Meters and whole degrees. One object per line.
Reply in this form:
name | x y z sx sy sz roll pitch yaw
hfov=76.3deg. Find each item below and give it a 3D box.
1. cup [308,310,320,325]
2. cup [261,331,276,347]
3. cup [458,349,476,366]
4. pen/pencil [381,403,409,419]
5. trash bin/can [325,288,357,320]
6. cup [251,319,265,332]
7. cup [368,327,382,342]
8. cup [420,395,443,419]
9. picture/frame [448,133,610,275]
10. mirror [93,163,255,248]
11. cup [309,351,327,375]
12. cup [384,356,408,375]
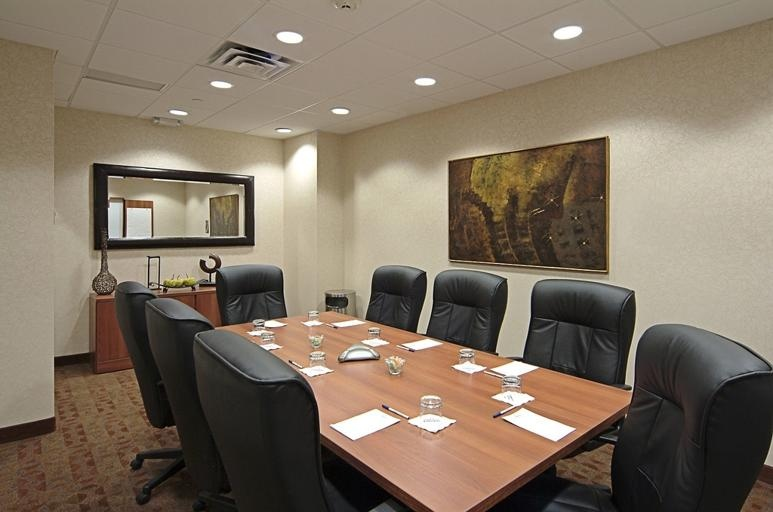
cup | -0.688 0.589 4.686 0.110 0.118 0.122 -1 -1 -10
cup | -0.964 0.665 4.036 0.084 0.105 0.108 0 -9 -1
cup | 0.598 0.749 3.623 0.095 0.077 0.097 0 -4 0
pen/pencil | 0.053 0.966 3.045 0.025 0.021 0.174 3 6 -39
trash bin/can | -0.584 0.673 6.844 0.394 0.426 0.370 2 -2 -40
cup | -1.128 0.609 4.346 0.086 0.095 0.095 2 -3 -25
cup | -0.097 0.653 4.158 0.079 0.083 0.096 -5 -17 20
cup | 0.272 0.901 2.954 0.125 0.096 0.128 -1 -2 0
picture/frame | 1.550 -0.548 5.136 1.577 1.123 0.054 -1 -1 44
mirror | -2.804 -0.645 6.608 1.985 1.088 0.212 -3 3 -33
cup | -0.492 0.770 3.553 0.138 0.153 0.140 0 -2 0
cup | 0.060 0.787 3.534 0.117 0.082 0.120 2 -7 0
